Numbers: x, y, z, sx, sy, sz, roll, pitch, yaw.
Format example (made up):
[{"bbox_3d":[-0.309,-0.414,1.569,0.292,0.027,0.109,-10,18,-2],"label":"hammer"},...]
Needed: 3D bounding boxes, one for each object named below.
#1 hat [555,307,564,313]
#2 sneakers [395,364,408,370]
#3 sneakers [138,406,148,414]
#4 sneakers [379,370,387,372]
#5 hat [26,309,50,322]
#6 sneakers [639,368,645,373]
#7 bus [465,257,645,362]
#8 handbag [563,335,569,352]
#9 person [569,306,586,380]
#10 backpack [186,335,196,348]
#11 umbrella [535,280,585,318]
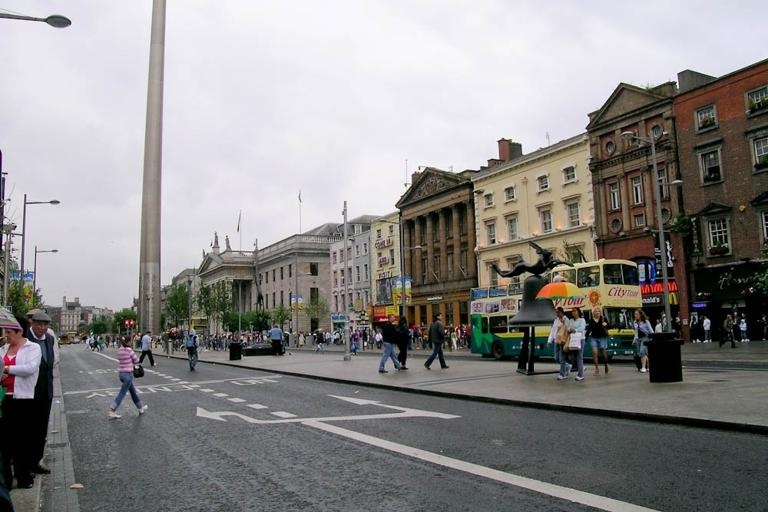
[{"bbox_3d":[5.585,1.697,20.826,0.240,0.250,0.187,-5,-8,21],"label":"hat"},{"bbox_3d":[0.766,4.441,26.229,0.538,0.236,0.168,-5,2,-29],"label":"sneakers"},{"bbox_3d":[-6.393,4.080,17.474,0.083,0.213,0.149,12,-48,7],"label":"sneakers"},{"bbox_3d":[0.024,4.414,25.287,0.257,0.115,0.691,-5,-10,17],"label":"sneakers"},{"bbox_3d":[-6.258,1.083,11.928,0.328,0.124,0.368,6,-4,-18],"label":"hat"},{"bbox_3d":[8.819,3.876,22.354,0.105,0.124,0.289,-7,-22,22],"label":"sneakers"},{"bbox_3d":[8.161,2.554,31.653,4.150,5.643,11.507,6,-11,-41],"label":"bus"},{"bbox_3d":[5.723,2.690,20.479,0.124,0.459,0.284,2,-9,-24],"label":"handbag"},{"bbox_3d":[6.171,2.749,20.872,0.501,2.291,1.589,-4,-9,16],"label":"person"},{"bbox_3d":[-9.679,4.304,33.109,0.456,0.674,0.625,4,-11,-18],"label":"backpack"},{"bbox_3d":[6.496,1.570,24.176,1.423,1.228,1.448,3,-10,-16],"label":"umbrella"}]
